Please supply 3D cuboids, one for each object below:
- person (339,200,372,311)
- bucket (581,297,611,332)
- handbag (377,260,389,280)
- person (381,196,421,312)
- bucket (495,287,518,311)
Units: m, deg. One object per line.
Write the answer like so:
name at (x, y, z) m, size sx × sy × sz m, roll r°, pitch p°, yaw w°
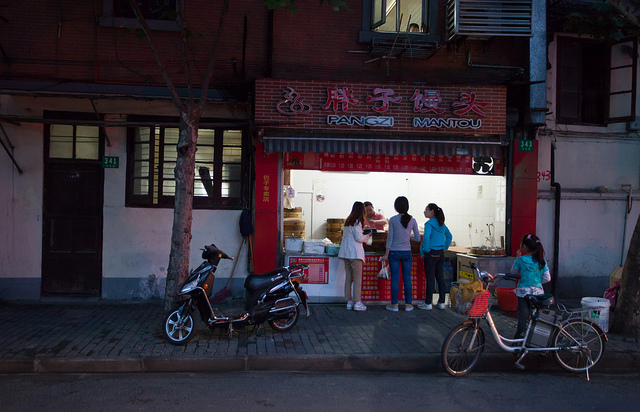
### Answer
person at (0.843, 1.232, 14.942) m, size 0.734 × 2.686 × 0.424 m, roll -1°, pitch 2°, yaw 3°
bucket at (6.194, 2.497, 13.656) m, size 0.687 × 0.731 × 0.683 m, roll -1°, pitch -5°, yaw 0°
handbag at (1.597, 1.584, 14.914) m, size 0.336 × 0.640 × 0.512 m, roll 2°, pitch -6°, yaw 1°
person at (2.028, 1.175, 15.135) m, size 0.735 × 2.828 × 0.850 m, roll 0°, pitch 2°, yaw 14°
bucket at (4.699, 2.355, 15.160) m, size 0.497 × 0.422 × 0.535 m, roll 2°, pitch -9°, yaw 0°
